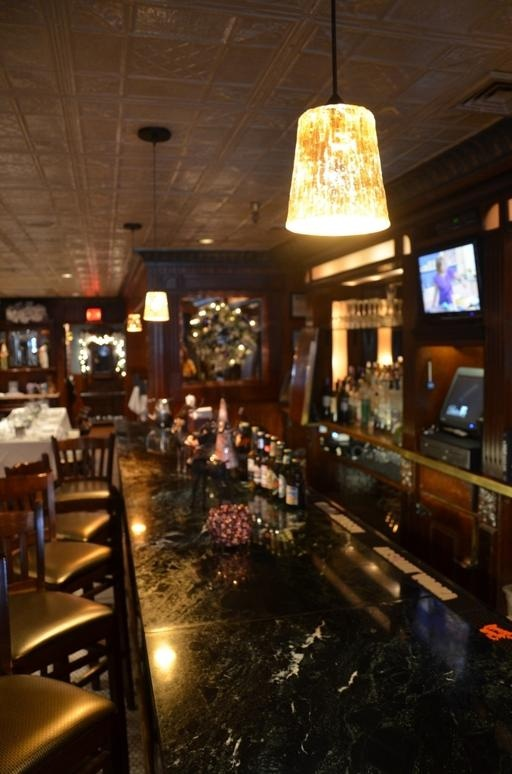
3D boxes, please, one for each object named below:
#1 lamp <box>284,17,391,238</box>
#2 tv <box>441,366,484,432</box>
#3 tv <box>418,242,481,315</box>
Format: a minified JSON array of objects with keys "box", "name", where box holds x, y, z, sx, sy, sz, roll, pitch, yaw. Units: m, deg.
[{"box":[0.198,-0.707,1.317,0.243,0.673,0.359,0,3,11],"name":"lamp"},{"box":[1.450,0.084,3.749,0.215,0.425,0.527,0,3,3],"name":"tv"},{"box":[1.277,-0.679,3.539,0.064,0.476,0.620,-11,8,-18],"name":"tv"}]
